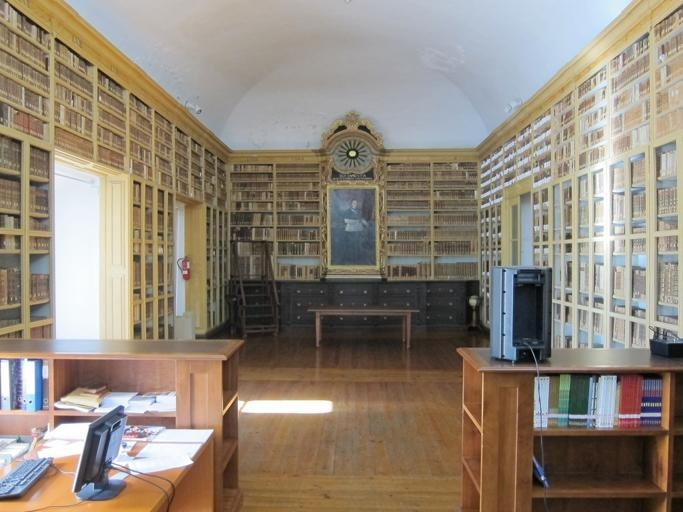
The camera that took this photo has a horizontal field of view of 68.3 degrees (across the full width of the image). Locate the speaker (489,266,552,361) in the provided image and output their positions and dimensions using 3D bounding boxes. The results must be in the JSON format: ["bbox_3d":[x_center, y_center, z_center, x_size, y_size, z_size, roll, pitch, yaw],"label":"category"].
[{"bbox_3d":[1.335,0.437,3.749,0.422,0.698,0.169,2,6,19],"label":"speaker"}]

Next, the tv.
[{"bbox_3d":[-1.545,1.290,3.231,0.205,0.455,0.469,2,-5,4],"label":"tv"}]
